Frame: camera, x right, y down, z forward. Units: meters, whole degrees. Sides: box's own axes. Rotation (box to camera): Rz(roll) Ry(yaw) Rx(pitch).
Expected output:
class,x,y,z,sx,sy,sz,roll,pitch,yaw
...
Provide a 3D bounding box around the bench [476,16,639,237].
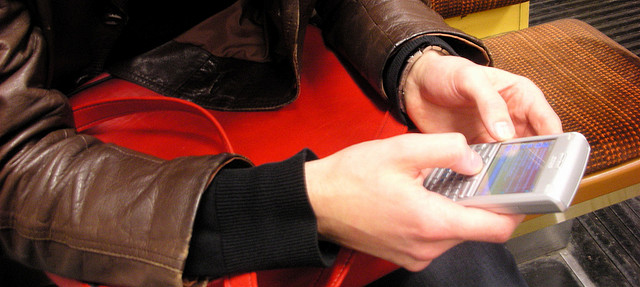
class,x,y,z,sx,sy,sz,roll,pitch,yaw
bench,0.991,-0.050,2.104,0.905,0.199,0.740,-17,72,-10

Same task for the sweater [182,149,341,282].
class,x,y,z,sx,sy,sz,roll,pitch,yaw
sweater,-0.223,0.253,1.496,0.497,0.271,0.321,-12,54,0
